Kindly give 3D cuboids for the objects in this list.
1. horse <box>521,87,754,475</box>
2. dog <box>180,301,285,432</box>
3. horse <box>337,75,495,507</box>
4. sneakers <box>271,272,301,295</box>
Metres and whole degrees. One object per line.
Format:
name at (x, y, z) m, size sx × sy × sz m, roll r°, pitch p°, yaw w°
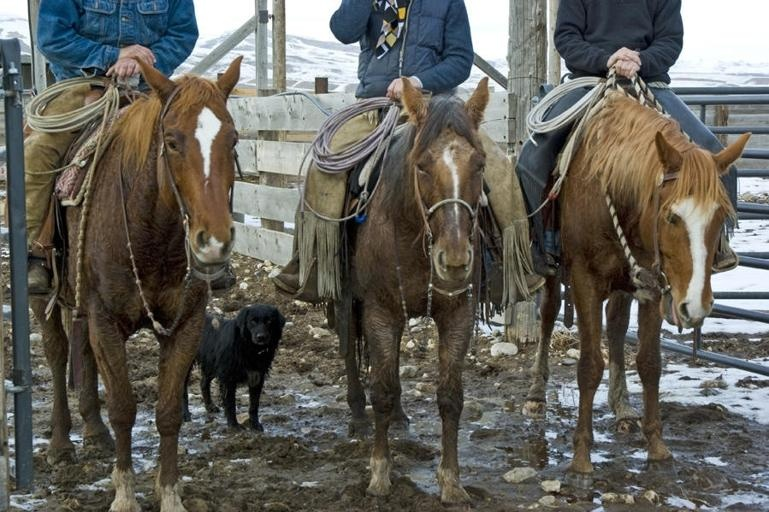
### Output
horse at (2.052, 0.158, 8.911) m, size 1.142 × 3.272 × 2.049 m, roll 0°, pitch -1°, yaw -20°
dog at (-1.537, 1.045, 10.057) m, size 0.521 × 1.229 × 1.538 m, roll 2°, pitch 4°, yaw -41°
horse at (0.291, 0.279, 8.359) m, size 0.738 × 3.385 × 1.519 m, roll 0°, pitch -1°, yaw -30°
sneakers at (-0.872, 0.237, 9.250) m, size 0.289 × 0.205 × 0.188 m, roll 0°, pitch -1°, yaw 14°
